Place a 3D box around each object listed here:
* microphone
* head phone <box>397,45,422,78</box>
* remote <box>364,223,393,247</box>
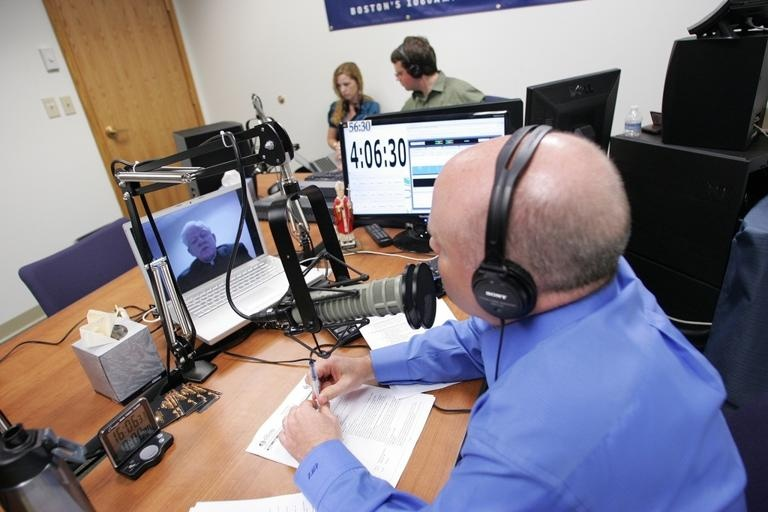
[{"bbox_3d":[-0.115,0.163,1.596,0.547,0.206,0.209,-12,30,27],"label":"microphone"},{"bbox_3d":[0.173,-1.399,3.663,0.160,0.194,0.094,31,81,38],"label":"head phone"},{"bbox_3d":[-0.023,-0.105,2.375,0.068,0.039,0.161,-13,35,-12],"label":"remote"}]
